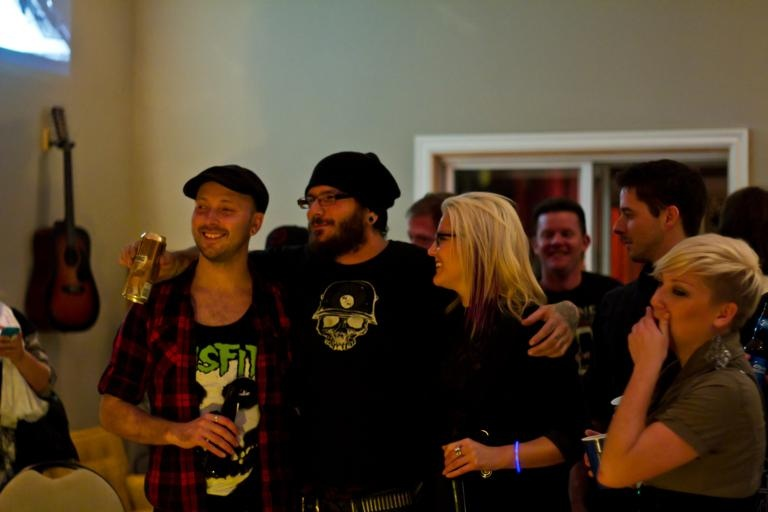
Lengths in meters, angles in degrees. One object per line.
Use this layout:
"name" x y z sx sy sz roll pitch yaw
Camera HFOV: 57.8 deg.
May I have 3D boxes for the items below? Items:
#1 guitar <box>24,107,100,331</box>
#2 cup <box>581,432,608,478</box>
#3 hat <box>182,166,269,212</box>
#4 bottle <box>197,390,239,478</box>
"guitar" -2.047 -0.246 4.436 0.348 1.439 0.359 4 5 10
"cup" 0.799 0.764 2.671 0.082 0.172 0.205 5 4 16
"hat" -0.711 -0.311 3.149 0.362 0.215 0.201 2 5 -16
"bottle" -0.681 0.778 2.969 0.116 0.416 0.118 8 -4 1
